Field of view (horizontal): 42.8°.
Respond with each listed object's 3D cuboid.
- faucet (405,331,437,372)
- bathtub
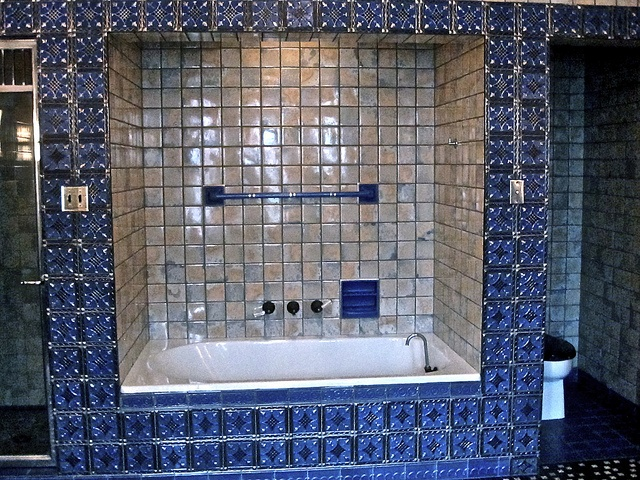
[{"bbox_3d":[0.728,0.813,5.915,0.201,0.263,0.350,-1,3,-3],"label":"faucet"},{"bbox_3d":[-0.276,0.881,5.853,1.678,0.379,0.854,2,1,-7],"label":"bathtub"}]
